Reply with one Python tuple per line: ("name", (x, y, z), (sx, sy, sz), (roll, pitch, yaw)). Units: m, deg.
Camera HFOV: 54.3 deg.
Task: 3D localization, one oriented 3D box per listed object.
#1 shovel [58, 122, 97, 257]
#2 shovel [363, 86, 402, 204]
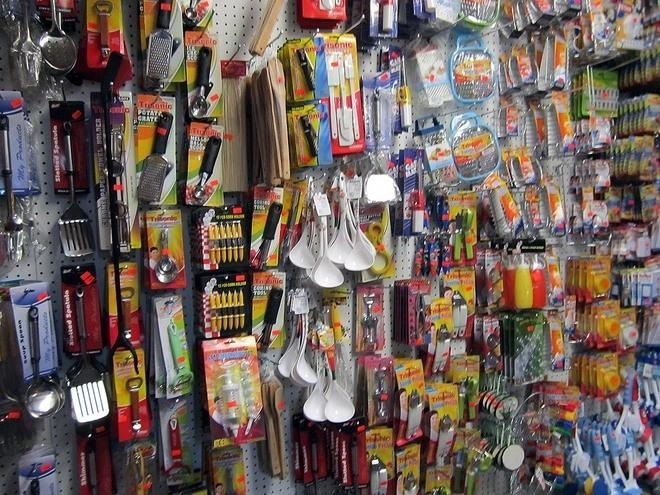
("shovel", (-0.918, -0.211, 2.301), (0.099, 0.035, 0.560), (0, 66, -35))
("shovel", (0.199, -0.408, 2.622), (0.118, 0.063, 0.473), (-1, 81, -5))
